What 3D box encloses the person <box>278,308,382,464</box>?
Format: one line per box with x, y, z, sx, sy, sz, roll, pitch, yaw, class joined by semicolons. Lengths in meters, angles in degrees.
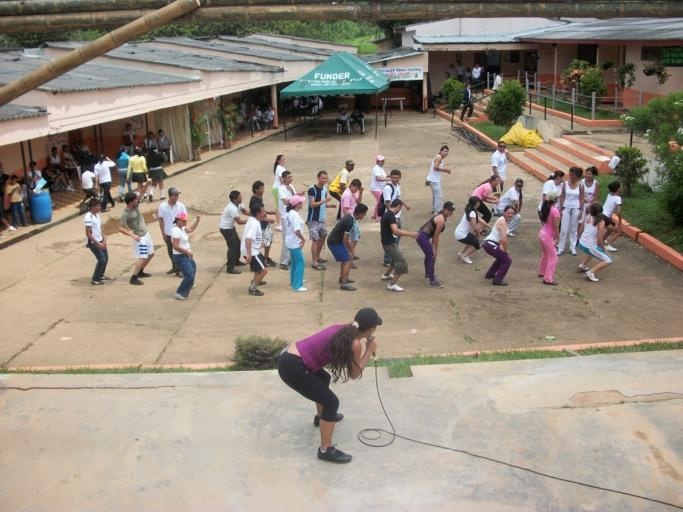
-0.095;1.373;7.009;0.979;1.736;0.945;12;27;33;person

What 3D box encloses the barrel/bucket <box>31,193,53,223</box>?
-8.575;-1.400;17.458;0.599;0.933;0.266;-19;27;-35;barrel/bucket

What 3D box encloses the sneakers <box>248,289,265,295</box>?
-1.690;0.729;12.310;0.320;0.124;0.122;1;15;2;sneakers

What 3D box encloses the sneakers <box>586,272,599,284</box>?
5.244;0.390;12.724;0.269;0.216;0.326;5;23;19;sneakers

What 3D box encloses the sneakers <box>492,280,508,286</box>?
3.258;0.555;12.592;0.349;0.137;0.107;-5;31;-8;sneakers

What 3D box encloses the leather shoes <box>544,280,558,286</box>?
4.299;0.544;12.511;0.267;0.097;0.092;2;20;14;leather shoes

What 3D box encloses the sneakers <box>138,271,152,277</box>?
-4.313;0.416;13.437;0.244;0.153;0.084;-9;30;-16;sneakers

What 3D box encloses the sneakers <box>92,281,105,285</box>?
-5.210;0.574;13.135;0.260;0.095;0.088;-3;22;-6;sneakers

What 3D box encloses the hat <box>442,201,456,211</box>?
2.126;-1.018;12.442;0.252;0.178;0.324;-13;13;-42;hat

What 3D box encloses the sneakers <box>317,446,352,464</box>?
-0.071;2.244;6.902;0.332;0.121;0.180;1;15;6;sneakers

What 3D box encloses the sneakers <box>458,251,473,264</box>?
2.900;0.020;14.029;0.306;0.260;0.342;-5;21;-6;sneakers

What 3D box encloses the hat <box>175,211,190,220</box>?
-3.120;-0.757;12.016;0.205;0.112;0.283;5;16;2;hat

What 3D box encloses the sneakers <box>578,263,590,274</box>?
5.168;0.271;13.091;0.320;0.136;0.119;7;40;-18;sneakers

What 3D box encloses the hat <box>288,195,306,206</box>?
-0.854;-1.082;12.210;0.342;0.148;0.234;-24;41;-24;hat

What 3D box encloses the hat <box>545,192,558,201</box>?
4.271;-1.230;12.364;0.204;0.151;0.319;3;22;14;hat
